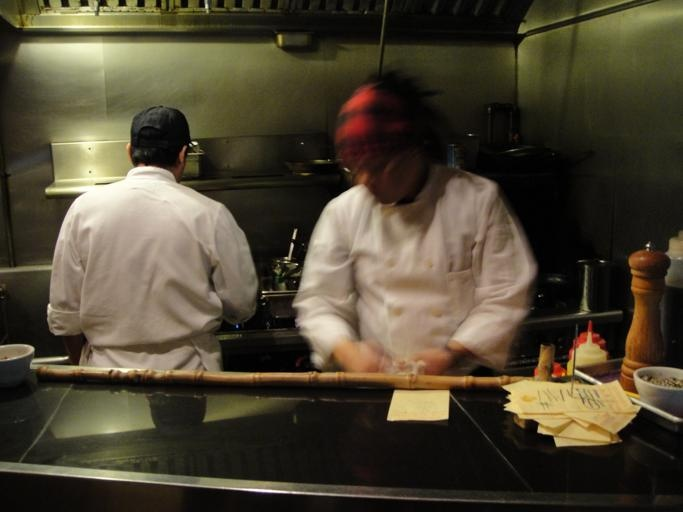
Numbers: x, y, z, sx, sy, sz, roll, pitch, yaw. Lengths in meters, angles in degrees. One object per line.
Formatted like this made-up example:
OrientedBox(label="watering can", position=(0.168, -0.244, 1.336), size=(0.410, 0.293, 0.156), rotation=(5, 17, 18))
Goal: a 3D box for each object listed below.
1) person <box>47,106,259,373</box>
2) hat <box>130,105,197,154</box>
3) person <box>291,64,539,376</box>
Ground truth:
OrientedBox(label="person", position=(-0.732, -0.057, 2.488), size=(0.820, 1.061, 0.530), rotation=(-5, 11, -23))
OrientedBox(label="hat", position=(-0.749, -0.555, 2.694), size=(0.261, 0.172, 0.337), rotation=(4, 10, 4))
OrientedBox(label="person", position=(0.252, 0.082, 2.042), size=(0.789, 1.134, 0.580), rotation=(-1, 12, 4))
